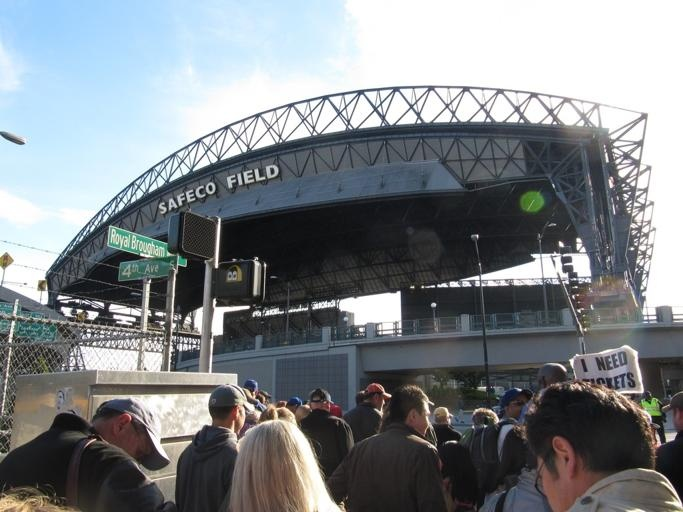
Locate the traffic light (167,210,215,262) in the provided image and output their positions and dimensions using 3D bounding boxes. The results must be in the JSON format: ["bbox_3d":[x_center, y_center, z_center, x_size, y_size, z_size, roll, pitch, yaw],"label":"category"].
[{"bbox_3d":[-1.978,-0.289,7.638,0.325,0.607,0.741,-12,-18,29],"label":"traffic light"}]
